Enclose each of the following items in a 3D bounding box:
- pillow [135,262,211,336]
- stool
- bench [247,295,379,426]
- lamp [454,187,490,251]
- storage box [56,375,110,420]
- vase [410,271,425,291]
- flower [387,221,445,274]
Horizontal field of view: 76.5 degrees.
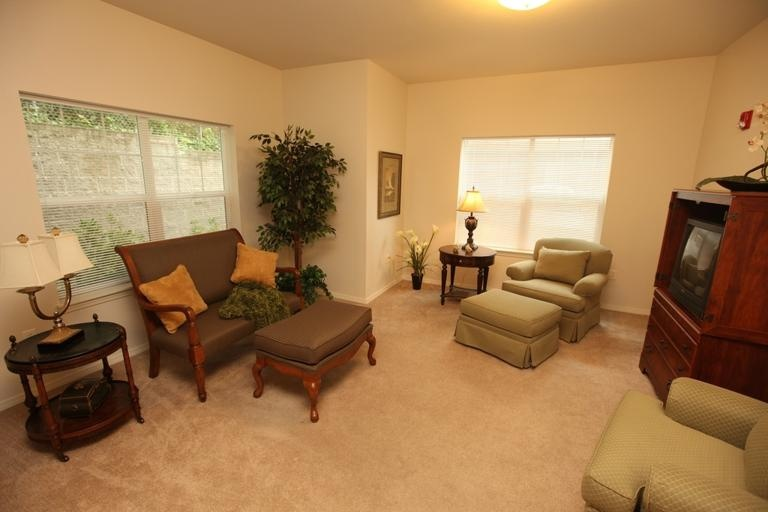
[{"bbox_3d":[-2.028,0.441,4.803,0.192,0.604,0.626,-18,18,29],"label":"pillow"},{"bbox_3d":[1.491,0.608,5.348,0.791,0.521,0.957,-13,17,-41],"label":"stool"},{"bbox_3d":[-0.725,0.975,4.868,0.818,0.836,1.061,8,16,32],"label":"bench"},{"bbox_3d":[1.200,-0.498,6.657,0.340,0.821,0.915,1,14,9],"label":"lamp"},{"bbox_3d":[-2.613,1.214,4.306,0.297,0.295,0.395,-1,11,2],"label":"storage box"},{"bbox_3d":[0.485,0.364,7.130,0.222,0.229,0.238,1,4,17],"label":"vase"},{"bbox_3d":[0.475,-0.064,7.348,0.761,0.760,0.615,3,9,3],"label":"flower"}]
